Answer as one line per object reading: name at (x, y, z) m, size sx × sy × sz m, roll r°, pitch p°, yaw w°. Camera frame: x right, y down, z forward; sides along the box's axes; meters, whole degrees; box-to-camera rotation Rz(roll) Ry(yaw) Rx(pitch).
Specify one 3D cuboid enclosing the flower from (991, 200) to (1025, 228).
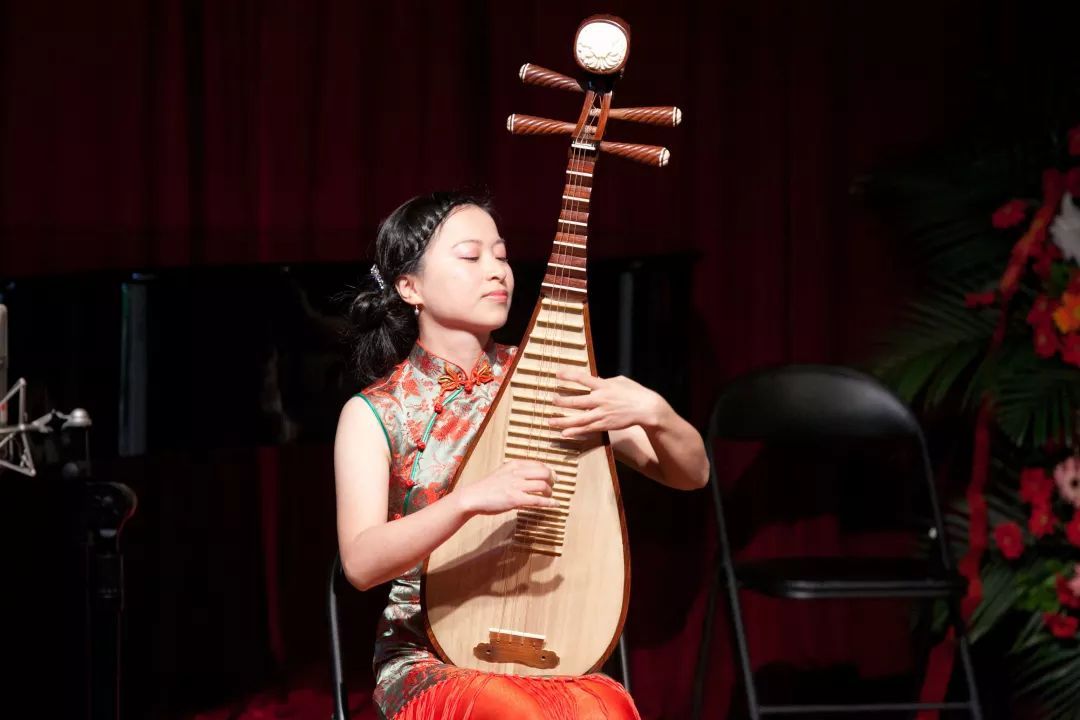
flower at (1.396, -0.437, 3.215) m, size 0.097 × 0.080 × 0.026 m, roll -1°, pitch -6°, yaw 4°

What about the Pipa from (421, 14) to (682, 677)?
Pipa at (0.015, 0.163, 2.391) m, size 0.472 × 1.689 × 0.173 m, roll 6°, pitch -3°, yaw -4°

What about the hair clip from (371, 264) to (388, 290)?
hair clip at (-0.415, -0.218, 2.766) m, size 0.012 × 0.067 × 0.040 m, roll -17°, pitch 1°, yaw 23°
